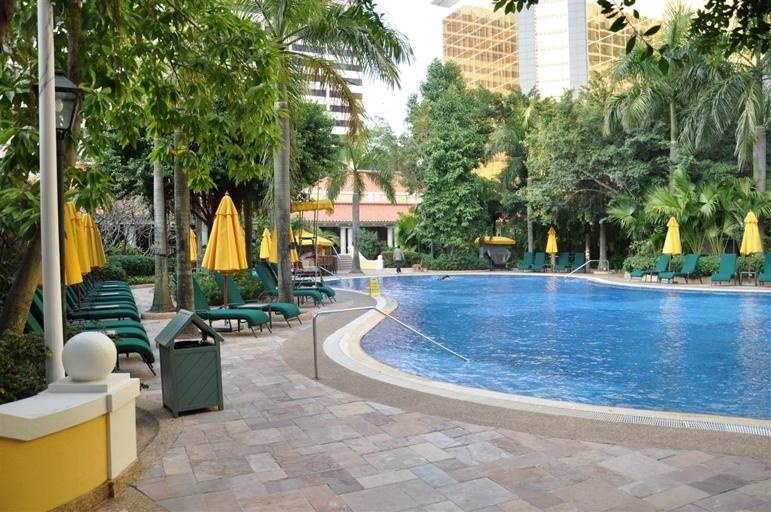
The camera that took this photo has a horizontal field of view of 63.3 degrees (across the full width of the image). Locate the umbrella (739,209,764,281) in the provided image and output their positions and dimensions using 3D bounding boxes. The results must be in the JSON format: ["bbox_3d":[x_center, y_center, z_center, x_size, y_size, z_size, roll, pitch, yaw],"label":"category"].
[{"bbox_3d":[14.263,-0.442,24.311,0.683,2.650,1.939,5,7,31],"label":"umbrella"}]

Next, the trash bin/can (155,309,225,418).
[{"bbox_3d":[-2.767,1.533,8.849,0.885,1.459,0.627,-2,7,-20],"label":"trash bin/can"}]

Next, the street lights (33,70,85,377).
[{"bbox_3d":[-3.929,-0.618,7.794,0.335,3.377,0.890,-3,7,-26],"label":"street lights"}]
